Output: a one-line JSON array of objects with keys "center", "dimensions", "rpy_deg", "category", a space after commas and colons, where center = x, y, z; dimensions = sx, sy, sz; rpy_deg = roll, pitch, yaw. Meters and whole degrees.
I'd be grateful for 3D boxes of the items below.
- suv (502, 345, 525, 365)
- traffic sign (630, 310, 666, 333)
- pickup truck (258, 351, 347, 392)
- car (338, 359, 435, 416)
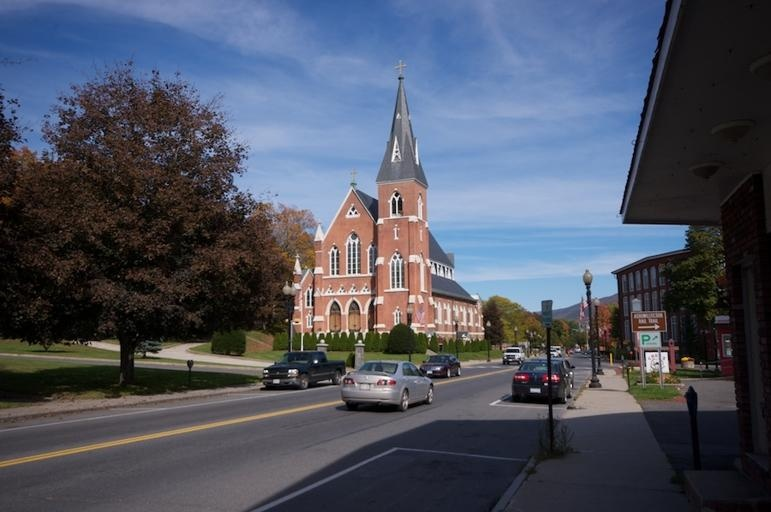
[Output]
[{"center": [13.380, 10.460, 63.861], "dimensions": [1.687, 1.365, 3.836], "rpy_deg": [-4, -15, 16], "category": "suv"}, {"center": [12.972, 3.242, 30.055], "dimensions": [1.699, 1.253, 0.170], "rpy_deg": [-1, 6, 16], "category": "traffic sign"}, {"center": [-4.276, 6.030, 32.128], "dimensions": [1.574, 1.994, 4.752], "rpy_deg": [-7, -14, 29], "category": "pickup truck"}, {"center": [0.260, 4.775, 22.415], "dimensions": [3.374, 1.784, 1.383], "rpy_deg": [10, -16, -41], "category": "car"}]
